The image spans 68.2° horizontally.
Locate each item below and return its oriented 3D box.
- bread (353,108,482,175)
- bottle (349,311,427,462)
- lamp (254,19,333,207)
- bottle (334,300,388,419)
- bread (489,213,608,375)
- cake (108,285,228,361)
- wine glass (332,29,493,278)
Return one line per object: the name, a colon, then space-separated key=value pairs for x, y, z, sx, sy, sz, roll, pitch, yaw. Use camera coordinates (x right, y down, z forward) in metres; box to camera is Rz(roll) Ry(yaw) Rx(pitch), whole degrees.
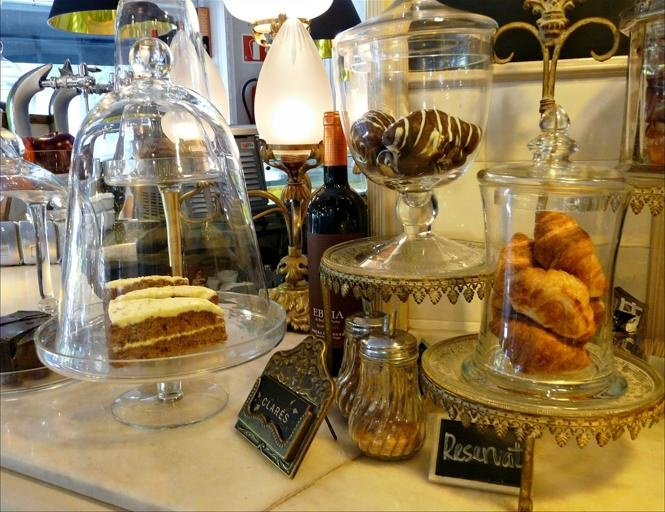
bread: x=0.104 y=-0.143 z=0.622 sx=0.118 sy=0.052 sz=0.090 roll=-18 pitch=15 yaw=-37
bottle: x=0.075 y=0.159 z=0.662 sx=0.101 sy=0.186 sz=0.116 roll=1 pitch=13 yaw=10
lamp: x=-0.078 y=-0.257 z=0.990 sx=0.148 sy=0.420 sz=0.149 roll=-1 pitch=13 yaw=-2
bottle: x=0.053 y=0.170 z=0.719 sx=0.074 sy=0.163 sz=0.071 roll=13 pitch=27 yaw=-7
bread: x=0.220 y=0.040 z=0.510 sx=0.121 sy=0.164 sz=0.059 roll=0 pitch=-7 yaw=29
cake: x=-0.244 y=0.064 z=0.699 sx=0.130 sy=0.066 sz=0.101 roll=-3 pitch=5 yaw=-22
wine glass: x=0.113 y=-0.160 z=0.698 sx=0.210 sy=0.325 sz=0.215 roll=5 pitch=10 yaw=24
